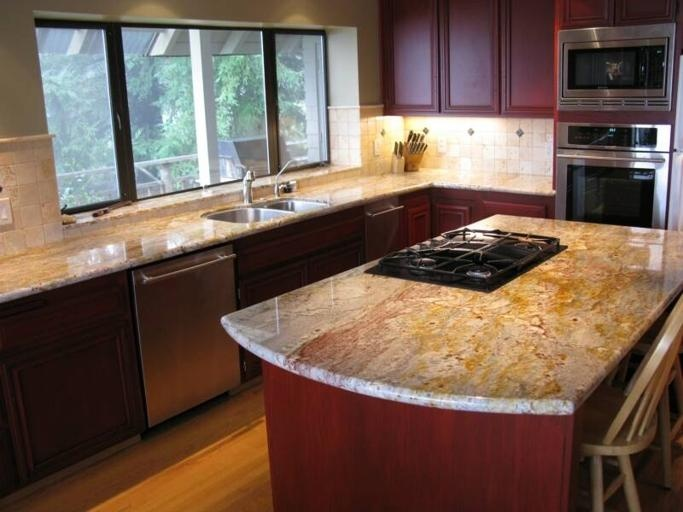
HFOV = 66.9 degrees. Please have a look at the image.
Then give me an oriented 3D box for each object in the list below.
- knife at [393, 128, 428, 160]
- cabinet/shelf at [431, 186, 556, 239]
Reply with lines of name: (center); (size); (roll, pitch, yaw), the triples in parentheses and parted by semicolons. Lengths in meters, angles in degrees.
knife: (0.687, -1.108, 5.185); (0.261, 0.369, 0.111); (-16, 12, -17)
cabinet/shelf: (1.183, -0.354, 3.919); (0.485, 0.403, 0.157); (6, 17, 24)
